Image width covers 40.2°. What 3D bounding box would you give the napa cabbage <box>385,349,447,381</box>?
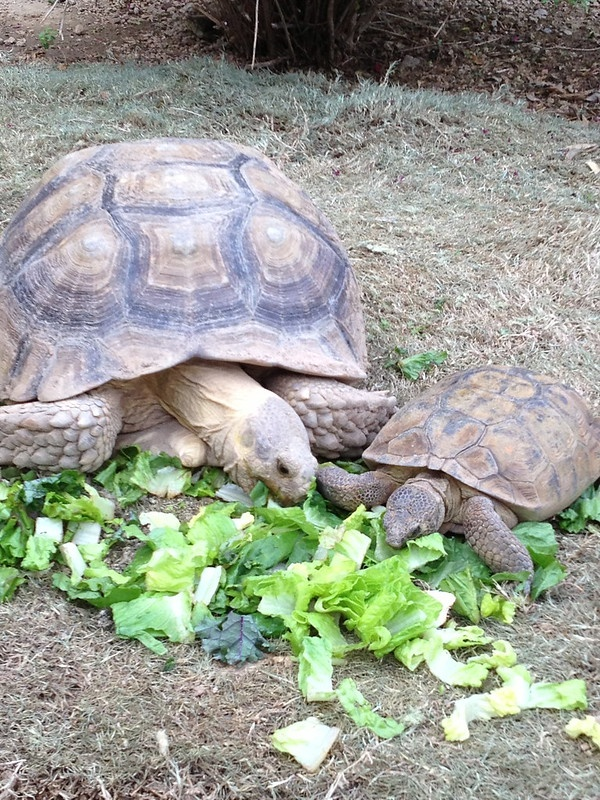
[{"bbox_3d":[0.453,-0.147,3.123,0.165,0.040,0.163,-12,20,-43],"label":"napa cabbage"}]
